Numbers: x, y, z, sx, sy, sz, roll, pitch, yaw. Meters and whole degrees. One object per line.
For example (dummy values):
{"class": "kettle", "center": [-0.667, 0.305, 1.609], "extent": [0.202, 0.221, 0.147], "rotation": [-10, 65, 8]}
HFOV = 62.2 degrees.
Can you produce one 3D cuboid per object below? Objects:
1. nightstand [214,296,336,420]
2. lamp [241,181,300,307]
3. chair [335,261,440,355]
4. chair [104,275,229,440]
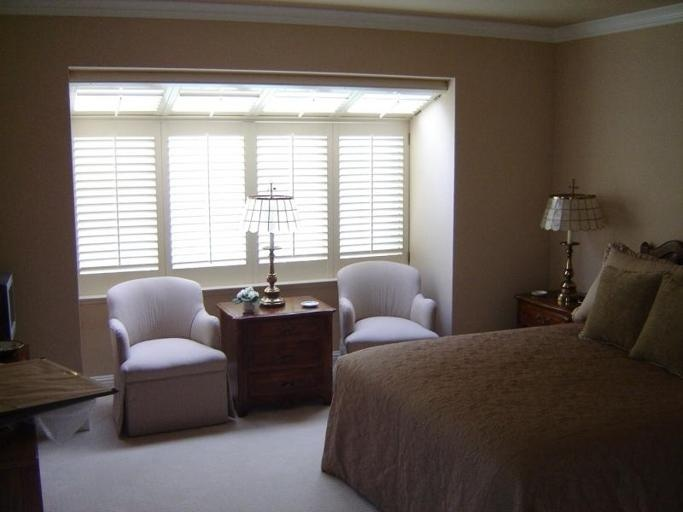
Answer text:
{"class": "nightstand", "center": [-0.484, 0.709, 4.539], "extent": [0.773, 0.855, 0.612], "rotation": [-3, 22, -13]}
{"class": "lamp", "center": [-0.579, -0.115, 4.620], "extent": [0.416, 0.937, 0.616], "rotation": [-2, 12, -10]}
{"class": "chair", "center": [0.348, 0.539, 4.730], "extent": [0.780, 0.920, 0.820], "rotation": [-3, 8, -15]}
{"class": "chair", "center": [-1.304, 0.691, 4.449], "extent": [0.875, 1.179, 1.062], "rotation": [-2, 3, -26]}
